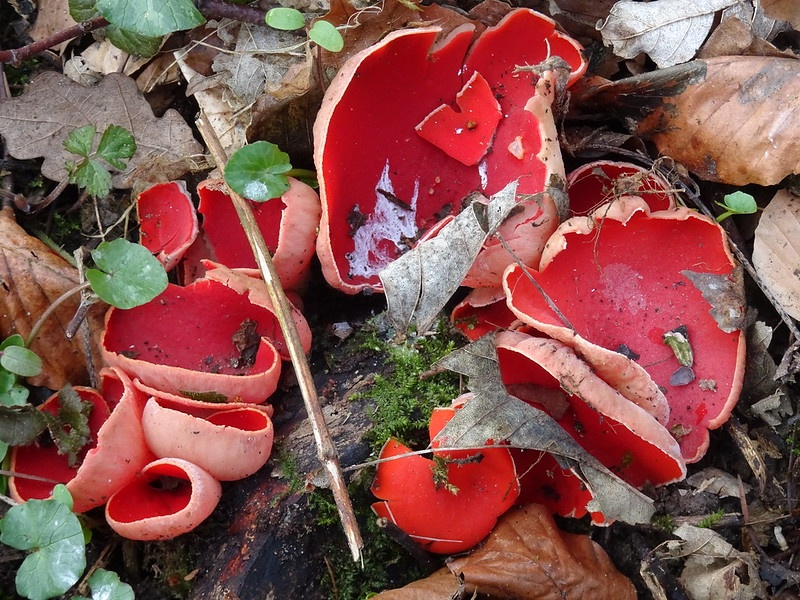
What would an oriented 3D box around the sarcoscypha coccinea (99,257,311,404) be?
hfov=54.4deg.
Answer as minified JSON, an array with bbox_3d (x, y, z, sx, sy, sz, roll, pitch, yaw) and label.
[{"bbox_3d":[-0.768,0.183,3.187,0.690,0.316,0.560,17,65,-2],"label":"sarcoscypha coccinea"}]

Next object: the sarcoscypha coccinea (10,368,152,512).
[{"bbox_3d":[-1.178,0.582,2.936,0.499,0.381,0.580,-15,63,35],"label":"sarcoscypha coccinea"}]

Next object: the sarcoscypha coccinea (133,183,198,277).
[{"bbox_3d":[-0.981,-0.272,3.302,0.302,0.132,0.368,3,82,23],"label":"sarcoscypha coccinea"}]

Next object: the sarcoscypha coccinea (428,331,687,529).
[{"bbox_3d":[0.482,0.577,2.896,0.898,0.344,0.453,37,63,19],"label":"sarcoscypha coccinea"}]

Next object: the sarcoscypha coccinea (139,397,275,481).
[{"bbox_3d":[-0.718,0.481,2.904,0.394,0.321,0.233,-2,86,3],"label":"sarcoscypha coccinea"}]

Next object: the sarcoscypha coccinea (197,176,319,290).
[{"bbox_3d":[-0.521,-0.299,3.302,0.430,0.235,0.520,-14,108,37],"label":"sarcoscypha coccinea"}]

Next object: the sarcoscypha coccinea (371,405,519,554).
[{"bbox_3d":[0.164,0.694,3.232,0.541,0.171,0.569,41,95,-19],"label":"sarcoscypha coccinea"}]
